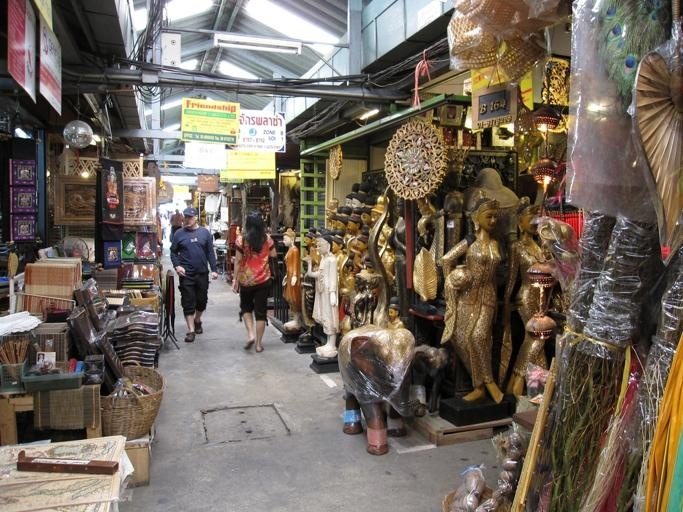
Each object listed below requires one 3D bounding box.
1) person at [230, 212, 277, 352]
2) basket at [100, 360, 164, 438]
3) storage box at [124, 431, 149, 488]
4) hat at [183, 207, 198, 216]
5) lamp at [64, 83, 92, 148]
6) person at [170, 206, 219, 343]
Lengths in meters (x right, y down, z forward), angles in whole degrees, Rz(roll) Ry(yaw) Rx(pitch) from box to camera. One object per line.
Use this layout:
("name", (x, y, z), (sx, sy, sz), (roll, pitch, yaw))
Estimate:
("person", (-1.186, 0.338, 6.940), (0.482, 1.837, 0.365), (0, 5, 4))
("basket", (-1.528, 1.085, 3.777), (0.423, 0.335, 0.473), (8, -9, -5))
("storage box", (-1.482, 1.476, 3.669), (0.269, 0.282, 0.156), (-20, -22, 38))
("hat", (-2.094, -0.613, 7.310), (0.173, 0.133, 0.273), (-2, 6, -18))
("lamp", (-3.816, -1.927, 7.633), (0.335, 0.734, 0.343), (-3, 3, -32))
("person", (-2.133, 0.256, 7.618), (0.606, 1.922, 0.744), (-2, 5, -19))
